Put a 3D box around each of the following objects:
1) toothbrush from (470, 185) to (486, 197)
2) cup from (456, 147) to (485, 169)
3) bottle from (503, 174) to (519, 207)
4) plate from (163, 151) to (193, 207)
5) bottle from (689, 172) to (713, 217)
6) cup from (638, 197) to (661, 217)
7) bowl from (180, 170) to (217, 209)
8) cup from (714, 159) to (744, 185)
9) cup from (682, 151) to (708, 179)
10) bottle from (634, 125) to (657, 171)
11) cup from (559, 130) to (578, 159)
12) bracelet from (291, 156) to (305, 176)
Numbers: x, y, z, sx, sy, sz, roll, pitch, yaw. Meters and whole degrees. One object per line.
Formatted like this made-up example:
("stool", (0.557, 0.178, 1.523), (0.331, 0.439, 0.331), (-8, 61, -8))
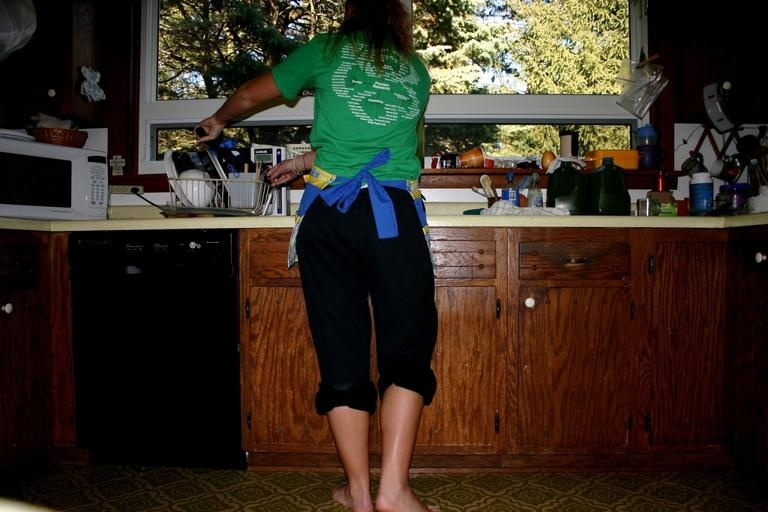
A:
("toothbrush", (0.541, -0.373, 3.495), (0.025, 0.071, 0.044), (-55, 8, -28))
("cup", (0.506, -0.555, 3.533), (0.128, 0.118, 0.119), (-9, -11, -2))
("bottle", (0.684, -0.364, 3.270), (0.091, 0.170, 0.253), (0, 7, 11))
("plate", (-1.036, -0.379, 3.015), (0.049, 0.236, 0.234), (-14, 26, -2))
("bottle", (1.663, -0.331, 3.186), (0.115, 0.213, 0.224), (2, 8, 26))
("cup", (1.374, -0.265, 3.220), (0.093, 0.088, 0.164), (-3, 8, -10))
("bowl", (-0.896, -0.350, 3.088), (0.159, 0.201, 0.185), (-14, 19, -5))
("cup", (1.927, -0.483, 3.409), (0.153, 0.137, 0.179), (4, 9, 37))
("cup", (1.706, -0.510, 3.345), (0.109, 0.164, 0.176), (-5, 1, -9))
("bottle", (1.501, -0.617, 3.447), (0.152, 0.243, 0.106), (-2, 7, -2))
("cup", (1.047, -0.634, 3.443), (0.092, 0.146, 0.082), (0, 7, 9))
("bracelet", (-0.368, -0.386, 2.608), (0.053, 0.066, 0.039), (0, 8, 10))
